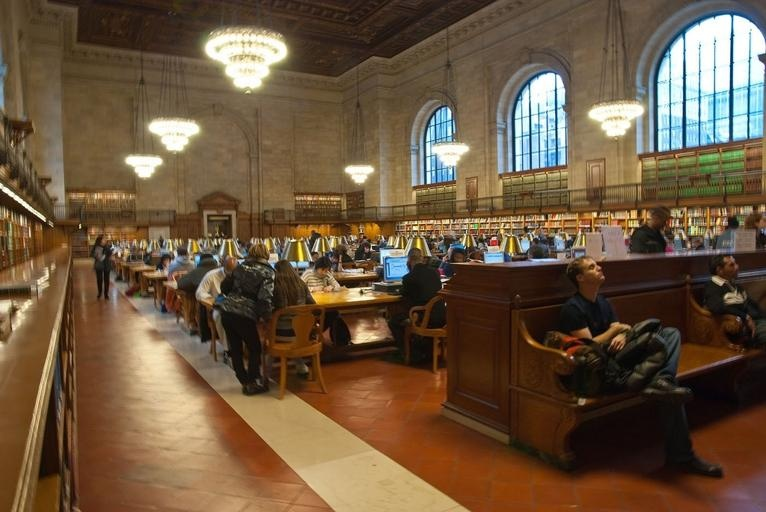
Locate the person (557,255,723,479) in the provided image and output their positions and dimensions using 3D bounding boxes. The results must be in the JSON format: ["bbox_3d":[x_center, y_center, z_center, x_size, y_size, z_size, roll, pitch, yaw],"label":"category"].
[{"bbox_3d":[2.052,0.854,4.447,0.595,1.597,1.246,-11,10,-36],"label":"person"}]

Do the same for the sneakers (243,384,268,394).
[{"bbox_3d":[-1.343,1.369,5.752,0.275,0.122,0.094,-3,6,-11],"label":"sneakers"}]

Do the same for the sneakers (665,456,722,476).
[{"bbox_3d":[2.420,1.640,4.310,0.385,0.159,0.146,-3,-1,12],"label":"sneakers"}]

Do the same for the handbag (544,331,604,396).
[{"bbox_3d":[1.498,0.850,4.308,0.395,0.453,0.184,0,0,-34],"label":"handbag"}]

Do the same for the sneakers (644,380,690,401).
[{"bbox_3d":[2.126,1.021,4.197,0.350,0.179,0.134,4,-29,14],"label":"sneakers"}]

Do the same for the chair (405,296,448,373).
[{"bbox_3d":[0.486,0.883,6.565,0.492,0.909,0.803,-1,11,4],"label":"chair"}]

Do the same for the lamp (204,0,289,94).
[{"bbox_3d":[-3.180,-4.555,12.707,1.705,1.411,0.851,-4,11,-8],"label":"lamp"}]

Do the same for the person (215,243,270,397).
[{"bbox_3d":[-1.461,0.626,5.893,0.611,1.493,0.585,10,12,27],"label":"person"}]
